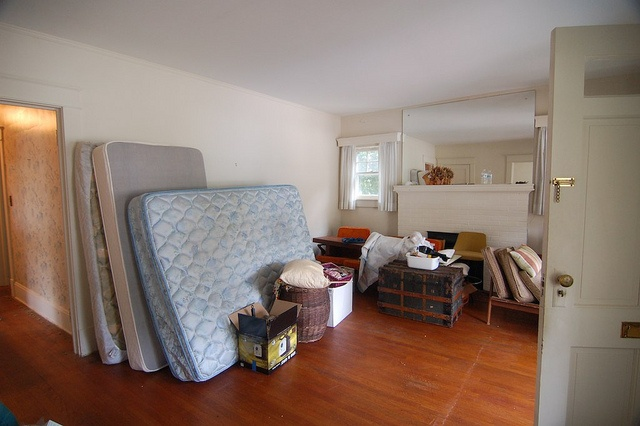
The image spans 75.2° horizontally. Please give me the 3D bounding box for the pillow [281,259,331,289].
[{"bbox_3d":[-0.169,0.739,4.987,0.360,0.137,0.422,4,8,7],"label":"pillow"}]

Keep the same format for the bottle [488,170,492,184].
[{"bbox_3d":[2.782,-0.573,6.745,0.081,0.191,0.051,2,8,25],"label":"bottle"}]

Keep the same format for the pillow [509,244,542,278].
[{"bbox_3d":[2.569,0.606,5.165,0.342,0.315,0.541,3,7,27],"label":"pillow"}]

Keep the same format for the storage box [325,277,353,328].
[{"bbox_3d":[0.228,1.141,5.308,0.370,0.503,0.678,0,1,28],"label":"storage box"}]

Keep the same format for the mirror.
[{"bbox_3d":[2.553,-1.267,6.857,1.502,1.069,0.065,2,5,34],"label":"mirror"}]

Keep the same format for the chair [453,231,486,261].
[{"bbox_3d":[2.346,0.519,6.540,0.459,0.523,0.483,2,1,33],"label":"chair"}]

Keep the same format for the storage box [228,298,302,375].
[{"bbox_3d":[-0.596,1.345,4.652,0.568,0.598,0.621,4,8,34],"label":"storage box"}]

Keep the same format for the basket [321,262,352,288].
[{"bbox_3d":[0.257,0.828,5.499,0.294,0.095,0.286,-8,21,-39],"label":"basket"}]

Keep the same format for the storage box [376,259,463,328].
[{"bbox_3d":[1.381,0.974,5.513,1.131,0.776,0.716,3,5,33],"label":"storage box"}]

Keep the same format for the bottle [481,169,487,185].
[{"bbox_3d":[2.708,-0.588,6.796,0.103,0.213,0.067,3,8,26],"label":"bottle"}]

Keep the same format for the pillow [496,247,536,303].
[{"bbox_3d":[2.389,0.781,5.099,0.565,0.547,0.184,-9,-16,-47],"label":"pillow"}]
